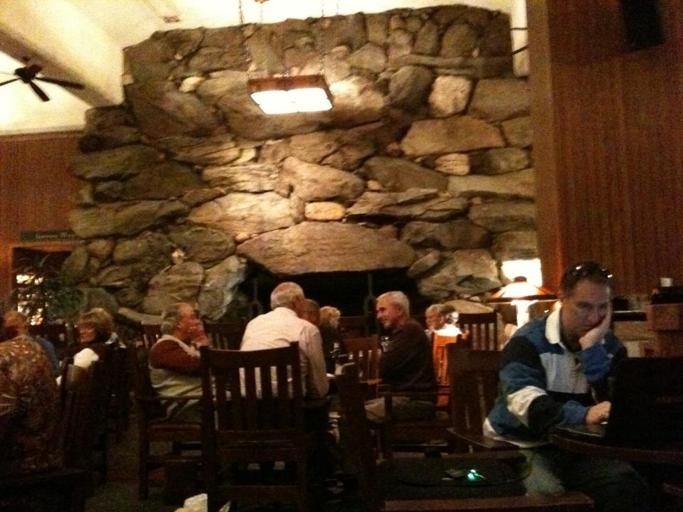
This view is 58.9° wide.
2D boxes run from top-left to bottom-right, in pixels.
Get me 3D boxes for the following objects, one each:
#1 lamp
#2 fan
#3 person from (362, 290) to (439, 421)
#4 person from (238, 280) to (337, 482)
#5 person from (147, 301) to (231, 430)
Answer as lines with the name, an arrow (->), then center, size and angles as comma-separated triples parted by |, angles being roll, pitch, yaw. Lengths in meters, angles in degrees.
lamp -> -0.718, -2.744, 7.798 | 1.158, 1.765, 1.628 | -2, -8, -9
fan -> -3.836, -2.356, 7.670 | 1.036, 0.220, 0.946 | -2, -4, -14
person -> 0.437, 0.731, 4.642 | 0.507, 0.963, 0.903 | -4, -8, 6
person -> -0.352, 0.782, 3.799 | 0.536, 1.279, 0.632 | -3, -9, -2
person -> -1.197, 0.762, 4.436 | 0.435, 0.845, 0.922 | -1, -8, -12
